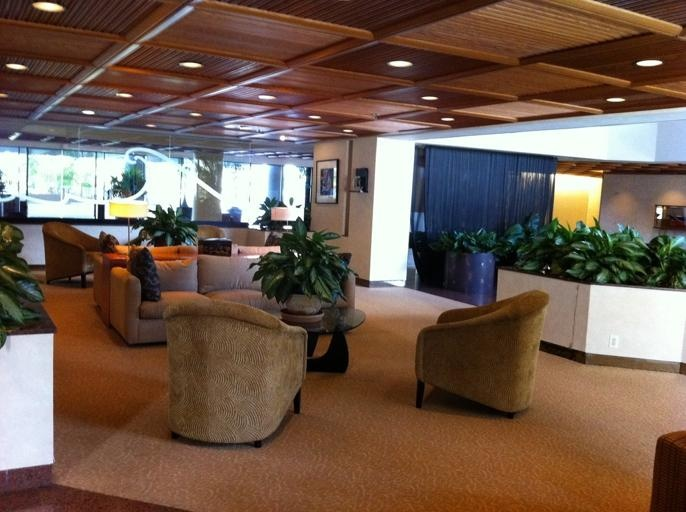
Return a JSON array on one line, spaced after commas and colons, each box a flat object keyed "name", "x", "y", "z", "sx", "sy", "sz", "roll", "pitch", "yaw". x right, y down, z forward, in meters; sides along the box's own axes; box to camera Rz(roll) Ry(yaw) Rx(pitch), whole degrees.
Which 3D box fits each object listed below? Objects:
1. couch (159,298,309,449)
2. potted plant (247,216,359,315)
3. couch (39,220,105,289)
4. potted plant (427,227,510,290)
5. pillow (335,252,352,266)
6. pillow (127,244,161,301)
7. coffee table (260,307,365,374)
[{"name": "couch", "x": -0.785, "y": 0.817, "z": 3.874, "sx": 1.106, "sy": 0.901, "sz": 1.062, "roll": 0, "pitch": -2, "yaw": -19}, {"name": "potted plant", "x": -0.411, "y": 0.071, "z": 4.914, "sx": 1.039, "sy": 0.642, "sz": 0.989, "roll": 0, "pitch": 8, "yaw": -10}, {"name": "couch", "x": -4.670, "y": 0.046, "z": 8.586, "sx": 0.966, "sy": 0.818, "sz": 0.922, "roll": 5, "pitch": -6, "yaw": -44}, {"name": "potted plant", "x": 2.429, "y": 0.096, "z": 9.753, "sx": 1.210, "sy": 1.178, "sz": 0.583, "roll": 6, "pitch": 10, "yaw": 15}, {"name": "pillow", "x": 0.020, "y": 0.037, "z": 6.335, "sx": 0.180, "sy": 0.172, "sz": 0.204, "roll": 1, "pitch": -11, "yaw": -1}, {"name": "pillow", "x": -2.233, "y": 0.117, "z": 5.775, "sx": 0.260, "sy": 0.550, "sz": 0.627, "roll": -11, "pitch": 17, "yaw": -23}, {"name": "coffee table", "x": -0.183, "y": 0.819, "z": 4.859, "sx": 0.760, "sy": 0.393, "sz": 0.718, "roll": 1, "pitch": -4, "yaw": 5}]
